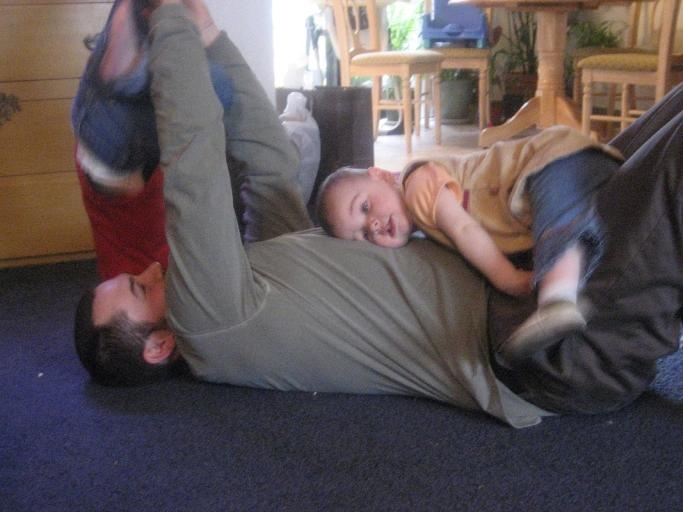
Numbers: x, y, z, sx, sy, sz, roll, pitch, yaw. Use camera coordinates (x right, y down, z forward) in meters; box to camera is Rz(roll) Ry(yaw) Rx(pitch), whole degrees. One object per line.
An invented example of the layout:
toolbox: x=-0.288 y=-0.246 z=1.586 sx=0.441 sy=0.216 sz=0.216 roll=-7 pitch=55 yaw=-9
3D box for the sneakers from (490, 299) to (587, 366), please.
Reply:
sneakers: x=0.381 y=0.147 z=1.252 sx=0.097 sy=0.171 sz=0.068 roll=-2 pitch=56 yaw=-54
